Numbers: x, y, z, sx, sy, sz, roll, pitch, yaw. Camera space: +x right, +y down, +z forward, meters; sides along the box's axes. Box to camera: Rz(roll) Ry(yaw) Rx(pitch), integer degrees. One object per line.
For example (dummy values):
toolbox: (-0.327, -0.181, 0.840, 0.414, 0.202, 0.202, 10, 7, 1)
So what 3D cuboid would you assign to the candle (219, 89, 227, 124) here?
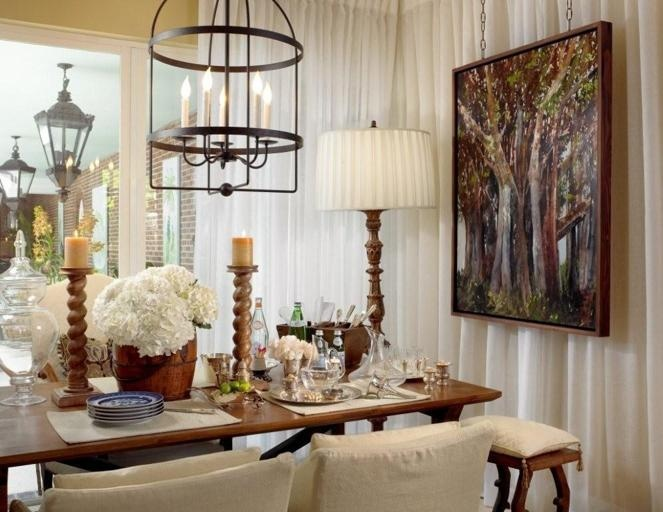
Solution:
candle: (-0.371, -0.515, 1.972, 0.024, 0.147, 0.120, 0, 1, -14)

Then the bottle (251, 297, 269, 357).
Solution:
bottle: (-0.325, 0.319, 2.550, 0.069, 0.283, 0.287, 0, 1, -8)

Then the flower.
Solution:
flower: (-0.659, 0.194, 2.146, 0.323, 0.269, 0.396, 5, 5, 21)

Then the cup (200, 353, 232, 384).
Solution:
cup: (-0.455, 0.441, 2.318, 0.121, 0.105, 0.140, -1, -3, 31)

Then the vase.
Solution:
vase: (-0.671, 0.381, 2.146, 0.242, 0.251, 0.253, 2, 2, -9)

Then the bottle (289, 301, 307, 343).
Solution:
bottle: (-0.164, 0.312, 2.786, 0.086, 0.196, 0.257, 0, 1, -3)

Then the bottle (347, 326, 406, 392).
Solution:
bottle: (0.213, 0.415, 2.454, 0.234, 0.282, 0.221, 0, 1, 0)

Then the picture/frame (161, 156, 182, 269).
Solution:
picture/frame: (-1.026, -0.298, 3.659, 0.113, 0.689, 0.078, 0, 2, -15)

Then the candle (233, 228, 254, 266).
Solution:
candle: (-0.362, -0.030, 2.342, 0.075, 0.137, 0.177, 0, 1, -5)

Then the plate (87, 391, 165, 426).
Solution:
plate: (-0.710, 0.520, 1.962, 0.238, 0.073, 0.218, 0, 1, -25)

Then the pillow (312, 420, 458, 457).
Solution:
pillow: (0.174, 0.533, 1.702, 0.462, 0.061, 0.144, -2, 2, -15)

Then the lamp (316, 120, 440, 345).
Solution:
lamp: (0.247, -0.180, 3.329, 0.695, 1.223, 0.253, 0, 2, 8)
